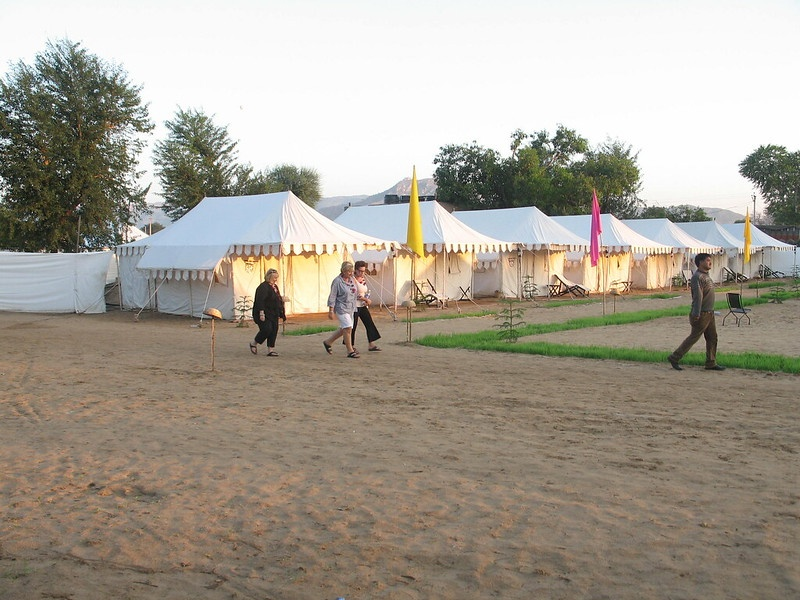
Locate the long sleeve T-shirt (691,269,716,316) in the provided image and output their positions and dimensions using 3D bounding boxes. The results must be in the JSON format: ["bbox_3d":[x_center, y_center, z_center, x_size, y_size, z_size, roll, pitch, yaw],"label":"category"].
[{"bbox_3d":[4.482,-0.113,11.843,0.434,0.677,0.288,-6,10,-31],"label":"long sleeve T-shirt"}]

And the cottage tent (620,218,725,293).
[{"bbox_3d":[12.903,-2.312,38.251,4.128,1.990,4.236,1,6,19],"label":"cottage tent"}]

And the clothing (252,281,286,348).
[{"bbox_3d":[-2.268,0.250,13.847,0.490,1.170,0.931,-2,9,-8],"label":"clothing"}]

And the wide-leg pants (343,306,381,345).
[{"bbox_3d":[-0.707,0.497,14.691,0.656,0.848,0.288,-3,7,-10],"label":"wide-leg pants"}]

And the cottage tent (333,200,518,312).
[{"bbox_3d":[1.525,-1.061,27.429,4.031,2.095,4.576,-5,-12,-20],"label":"cottage tent"}]

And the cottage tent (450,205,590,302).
[{"bbox_3d":[4.223,-1.582,31.592,3.358,2.864,4.821,-3,5,-7],"label":"cottage tent"}]

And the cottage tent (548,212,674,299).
[{"bbox_3d":[8.937,-1.805,33.426,4.496,2.118,4.783,1,7,18],"label":"cottage tent"}]

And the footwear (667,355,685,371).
[{"bbox_3d":[4.127,0.938,11.930,0.148,0.351,0.128,-19,28,20],"label":"footwear"}]

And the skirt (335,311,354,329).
[{"bbox_3d":[-0.911,0.362,13.423,0.211,0.355,0.367,-11,-7,21],"label":"skirt"}]

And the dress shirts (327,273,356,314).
[{"bbox_3d":[-0.951,-0.081,13.451,0.332,0.617,0.617,6,11,35],"label":"dress shirts"}]

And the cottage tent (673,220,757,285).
[{"bbox_3d":[17.414,-2.704,43.239,3.766,2.078,3.755,1,5,22],"label":"cottage tent"}]
